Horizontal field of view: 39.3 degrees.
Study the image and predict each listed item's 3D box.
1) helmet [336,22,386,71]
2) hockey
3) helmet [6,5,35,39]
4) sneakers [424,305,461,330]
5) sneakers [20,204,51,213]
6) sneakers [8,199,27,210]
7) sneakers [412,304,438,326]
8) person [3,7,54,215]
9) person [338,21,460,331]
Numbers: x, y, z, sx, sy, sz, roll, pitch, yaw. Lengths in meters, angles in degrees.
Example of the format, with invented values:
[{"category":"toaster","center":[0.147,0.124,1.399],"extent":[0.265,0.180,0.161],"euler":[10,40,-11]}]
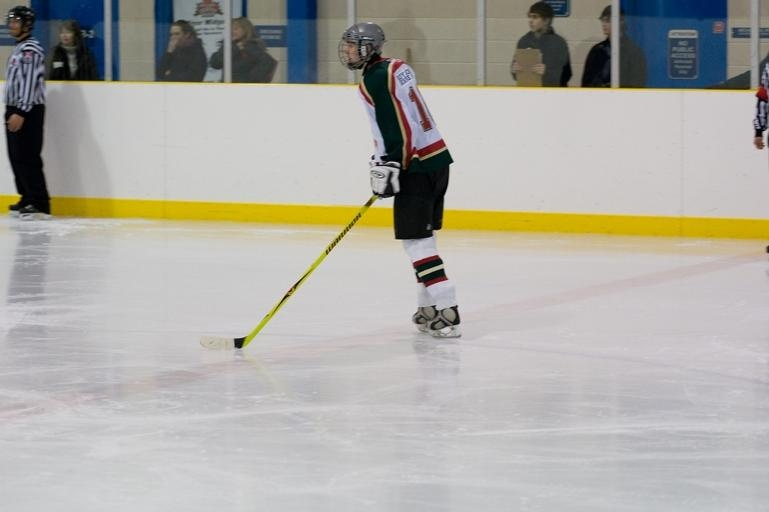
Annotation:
[{"category":"helmet","center":[-0.133,-1.199,6.030],"extent":[0.318,0.237,0.243],"euler":[-3,11,-5]},{"category":"hockey","center":[-0.583,0.115,7.188],"extent":[1.550,0.207,0.215],"euler":[-37,11,-14]},{"category":"helmet","center":[-3.225,-2.093,9.606],"extent":[0.263,0.312,0.231],"euler":[-11,15,-38]},{"category":"sneakers","center":[0.325,0.359,5.942],"extent":[0.192,0.103,0.121],"euler":[0,-2,12]},{"category":"sneakers","center":[-3.114,-0.410,9.579],"extent":[0.247,0.085,0.146],"euler":[-4,11,-15]},{"category":"sneakers","center":[-3.323,-0.450,9.658],"extent":[0.222,0.073,0.076],"euler":[3,6,22]},{"category":"sneakers","center":[0.221,0.329,6.023],"extent":[0.142,0.085,0.084],"euler":[-41,17,-15]},{"category":"person","center":[-3.194,-1.290,9.539],"extent":[0.417,1.842,0.496],"euler":[-5,13,-16]},{"category":"person","center":[0.125,-0.439,5.986],"extent":[0.752,1.711,0.441],"euler":[4,14,25]}]
